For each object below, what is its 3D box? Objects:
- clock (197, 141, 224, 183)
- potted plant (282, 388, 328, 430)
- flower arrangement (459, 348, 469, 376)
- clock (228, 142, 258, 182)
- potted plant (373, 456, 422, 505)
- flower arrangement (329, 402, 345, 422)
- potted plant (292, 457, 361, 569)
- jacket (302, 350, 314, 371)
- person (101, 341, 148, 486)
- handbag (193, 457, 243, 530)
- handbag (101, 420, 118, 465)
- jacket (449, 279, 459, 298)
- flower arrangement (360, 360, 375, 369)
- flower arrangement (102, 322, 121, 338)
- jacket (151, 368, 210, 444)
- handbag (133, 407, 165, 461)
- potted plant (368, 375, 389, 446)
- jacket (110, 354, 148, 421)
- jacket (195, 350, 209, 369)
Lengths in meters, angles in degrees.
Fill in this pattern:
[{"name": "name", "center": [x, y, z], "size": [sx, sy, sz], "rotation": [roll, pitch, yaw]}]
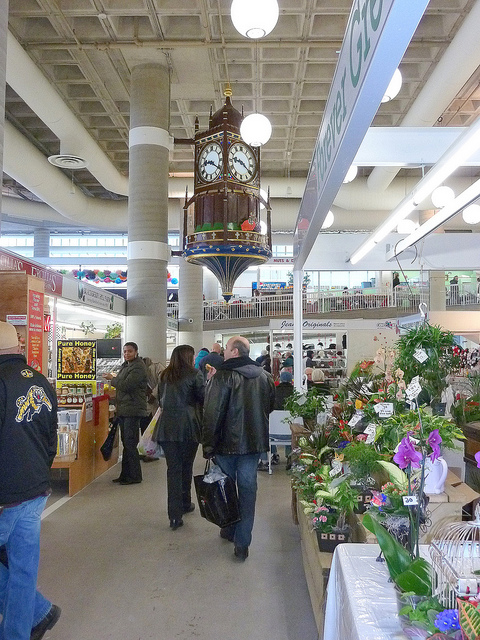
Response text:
[{"name": "clock", "center": [-0.480, -2.509, 7.678], "size": [0.117, 0.524, 0.570], "rotation": [-1, -45, -49]}, {"name": "potted plant", "center": [0.623, 0.825, 4.436], "size": [0.330, 0.374, 0.356], "rotation": [0, -9, -7]}, {"name": "flower arrangement", "center": [1.729, 0.294, 3.617], "size": [0.047, 0.152, 0.322], "rotation": [-3, -6, 28]}, {"name": "clock", "center": [0.054, -2.531, 7.682], "size": [0.558, 0.648, 0.045], "rotation": [3, -6, -30]}, {"name": "potted plant", "center": [0.428, 0.442, 1.247], "size": [0.098, 0.092, 0.047], "rotation": [2, 4, 11]}, {"name": "flower arrangement", "center": [0.661, 0.613, 3.139], "size": [0.088, 0.118, 0.082], "rotation": [4, 2, -8]}, {"name": "potted plant", "center": [0.434, 0.892, 2.343], "size": [0.254, 0.479, 0.512], "rotation": [0, 0, 1]}, {"name": "jacket", "center": [1.753, 0.975, 11.950], "size": [0.218, 0.453, 1.205], "rotation": [-1, -5, 10]}, {"name": "person", "center": [-1.266, 1.041, 5.221], "size": [0.443, 1.572, 0.584], "rotation": [1, -5, -16]}, {"name": "handbag", "center": [-0.202, 1.186, 3.357], "size": [0.176, 0.450, 0.334], "rotation": [-8, 3, -41]}, {"name": "handbag", "center": [-1.518, 1.410, 5.648], "size": [0.245, 0.091, 0.760], "rotation": [7, 26, -17]}, {"name": "jacket", "center": [8.099, -1.169, 17.639], "size": [0.260, 0.781, 0.764], "rotation": [-2, -6, 25]}, {"name": "flower arrangement", "center": [0.846, 0.285, 3.098], "size": [0.056, 0.025, 0.055], "rotation": [-33, 15, -33]}, {"name": "flower arrangement", "center": [-3.747, 0.313, 13.920], "size": [0.391, 0.438, 0.822], "rotation": [1, -6, -17]}, {"name": "jacket", "center": [-0.527, 0.762, 4.165], "size": [0.463, 0.654, 0.434], "rotation": [-3, -11, 6]}, {"name": "handbag", "center": [-0.806, 1.010, 4.486], "size": [0.221, 0.601, 0.304], "rotation": [19, -22, -22]}, {"name": "potted plant", "center": [0.700, 0.464, 2.331], "size": [0.101, 0.264, 0.072], "rotation": [-17, 23, -16]}, {"name": "jacket", "center": [-1.235, 0.749, 5.214], "size": [0.373, 0.694, 0.289], "rotation": [0, -5, -6]}, {"name": "jacket", "center": [-0.724, 0.825, 8.844], "size": [0.314, 0.478, 0.176], "rotation": [-1, 10, -12]}]
